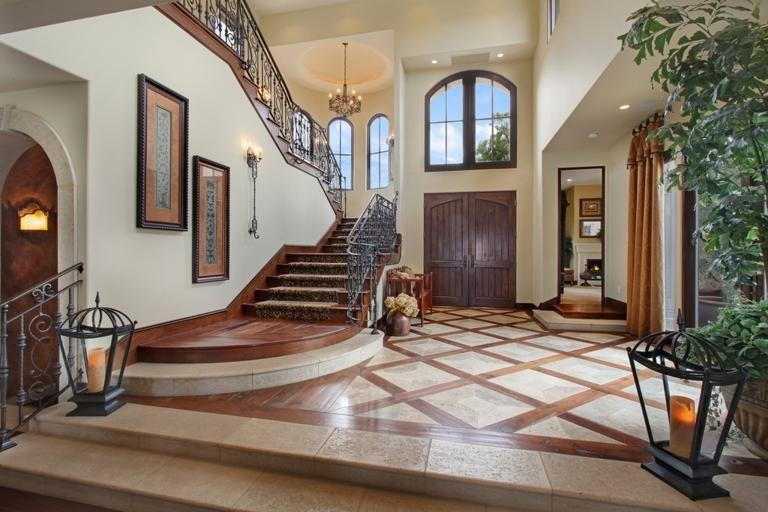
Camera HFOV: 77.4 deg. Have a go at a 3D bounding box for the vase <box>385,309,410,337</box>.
[{"bbox_3d":[0.216,1.079,7.685,0.388,0.421,0.380,-1,0,25],"label":"vase"}]

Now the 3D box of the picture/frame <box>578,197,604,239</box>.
[{"bbox_3d":[5.797,-1.074,13.502,0.630,1.196,0.225,1,15,1],"label":"picture/frame"}]

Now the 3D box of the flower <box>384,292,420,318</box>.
[{"bbox_3d":[0.296,0.789,7.669,0.429,0.399,0.429,9,-5,14],"label":"flower"}]
